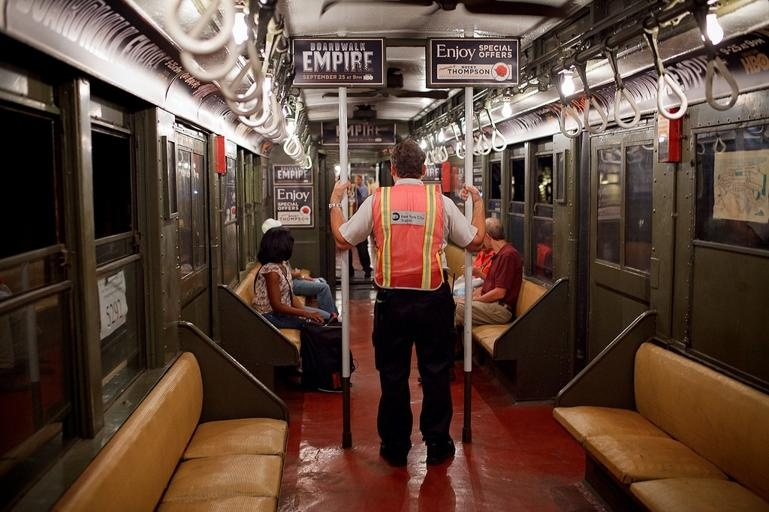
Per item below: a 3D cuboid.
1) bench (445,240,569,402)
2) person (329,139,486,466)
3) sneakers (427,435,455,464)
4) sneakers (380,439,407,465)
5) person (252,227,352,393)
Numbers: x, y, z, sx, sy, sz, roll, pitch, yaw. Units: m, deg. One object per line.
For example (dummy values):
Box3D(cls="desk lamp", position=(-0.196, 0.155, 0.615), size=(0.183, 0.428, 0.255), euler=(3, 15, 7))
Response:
Box3D(cls="bench", position=(1.838, 0.535, 7.437), size=(1.137, 1.932, 2.498), euler=(0, 1, -1))
Box3D(cls="person", position=(0.225, 0.457, 4.862), size=(1.402, 3.065, 0.584), euler=(1, 6, 9))
Box3D(cls="sneakers", position=(0.537, 1.856, 4.862), size=(0.146, 0.298, 0.399), euler=(1, 10, 22))
Box3D(cls="sneakers", position=(0.080, 1.877, 4.968), size=(0.150, 0.294, 0.282), euler=(-1, 9, -20))
Box3D(cls="person", position=(-1.316, 0.691, 7.748), size=(1.225, 2.251, 0.794), euler=(9, 2, 4))
